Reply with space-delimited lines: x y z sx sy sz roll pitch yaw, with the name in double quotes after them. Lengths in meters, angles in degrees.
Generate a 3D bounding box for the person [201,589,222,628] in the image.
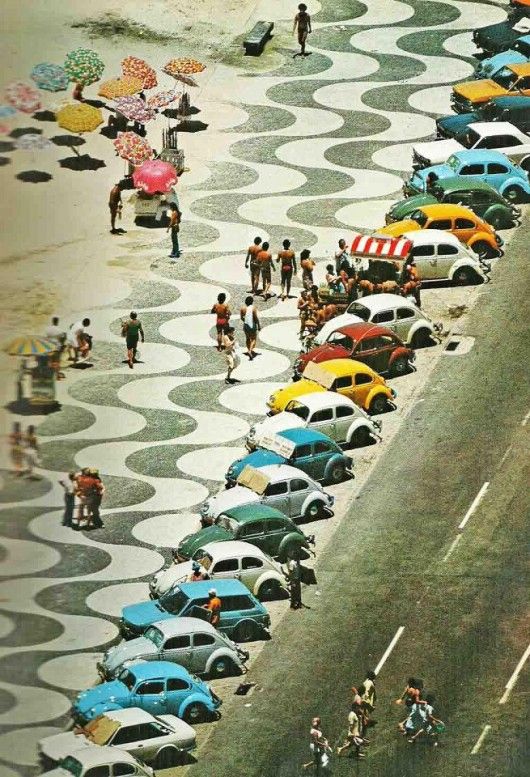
-1.195 5.120 40.630 0.384 0.944 0.626 -3 30 -1 "person"
